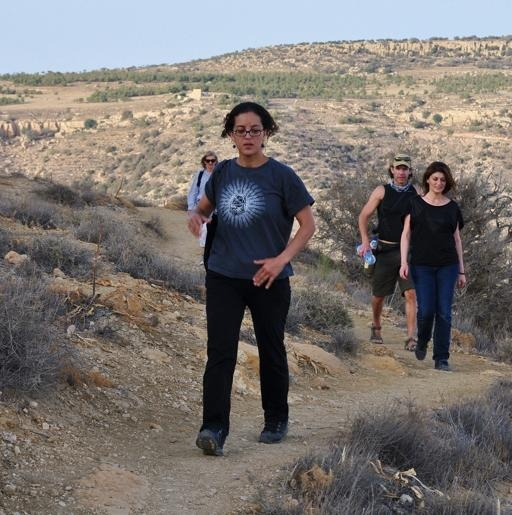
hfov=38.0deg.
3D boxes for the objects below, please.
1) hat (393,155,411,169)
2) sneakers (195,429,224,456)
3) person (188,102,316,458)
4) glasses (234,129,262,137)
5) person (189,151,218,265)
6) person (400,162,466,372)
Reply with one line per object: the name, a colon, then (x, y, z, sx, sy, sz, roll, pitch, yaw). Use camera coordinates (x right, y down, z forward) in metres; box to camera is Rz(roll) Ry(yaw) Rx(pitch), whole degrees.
hat: (1.551, -1.025, 7.889, 0.114, 0.094, 0.165, 2, -4, 5)
sneakers: (-0.274, 1.084, 4.361, 0.087, 0.120, 0.241, 5, -37, 11)
person: (-0.045, 0.112, 4.606, 0.742, 2.156, 0.592, 2, 3, -10)
glasses: (-0.048, -0.764, 4.563, 0.165, 0.058, 0.060, 4, 3, -5)
person: (-0.596, -0.643, 9.090, 0.506, 1.371, 0.290, -5, 34, -12)
person: (1.714, 0.101, 7.223, 0.500, 2.033, 0.599, 0, 4, -38)
